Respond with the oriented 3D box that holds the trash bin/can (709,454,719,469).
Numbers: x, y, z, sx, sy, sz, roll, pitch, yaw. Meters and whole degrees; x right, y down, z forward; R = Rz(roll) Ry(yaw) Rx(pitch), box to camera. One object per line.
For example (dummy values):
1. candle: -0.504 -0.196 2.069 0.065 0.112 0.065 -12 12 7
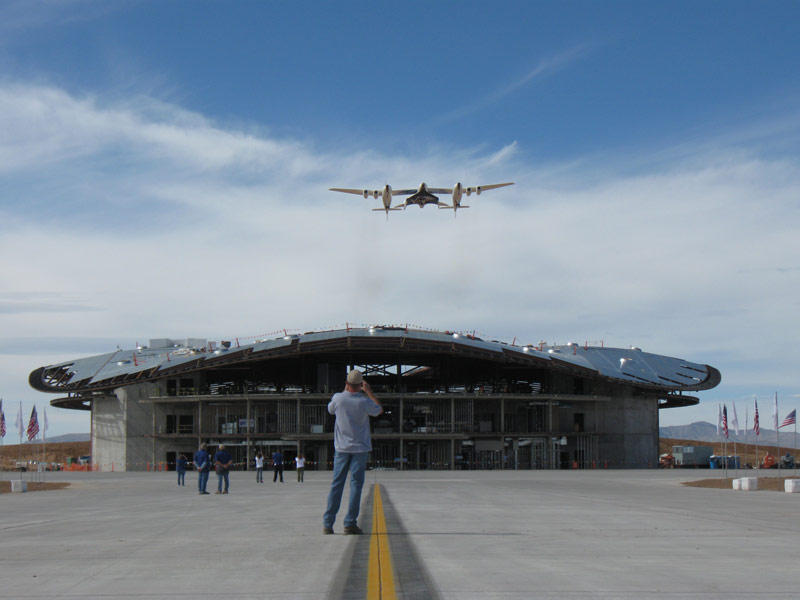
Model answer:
1. trash bin/can: 22.428 11.492 86.537 0.785 0.976 4.531 -3 -9 14
